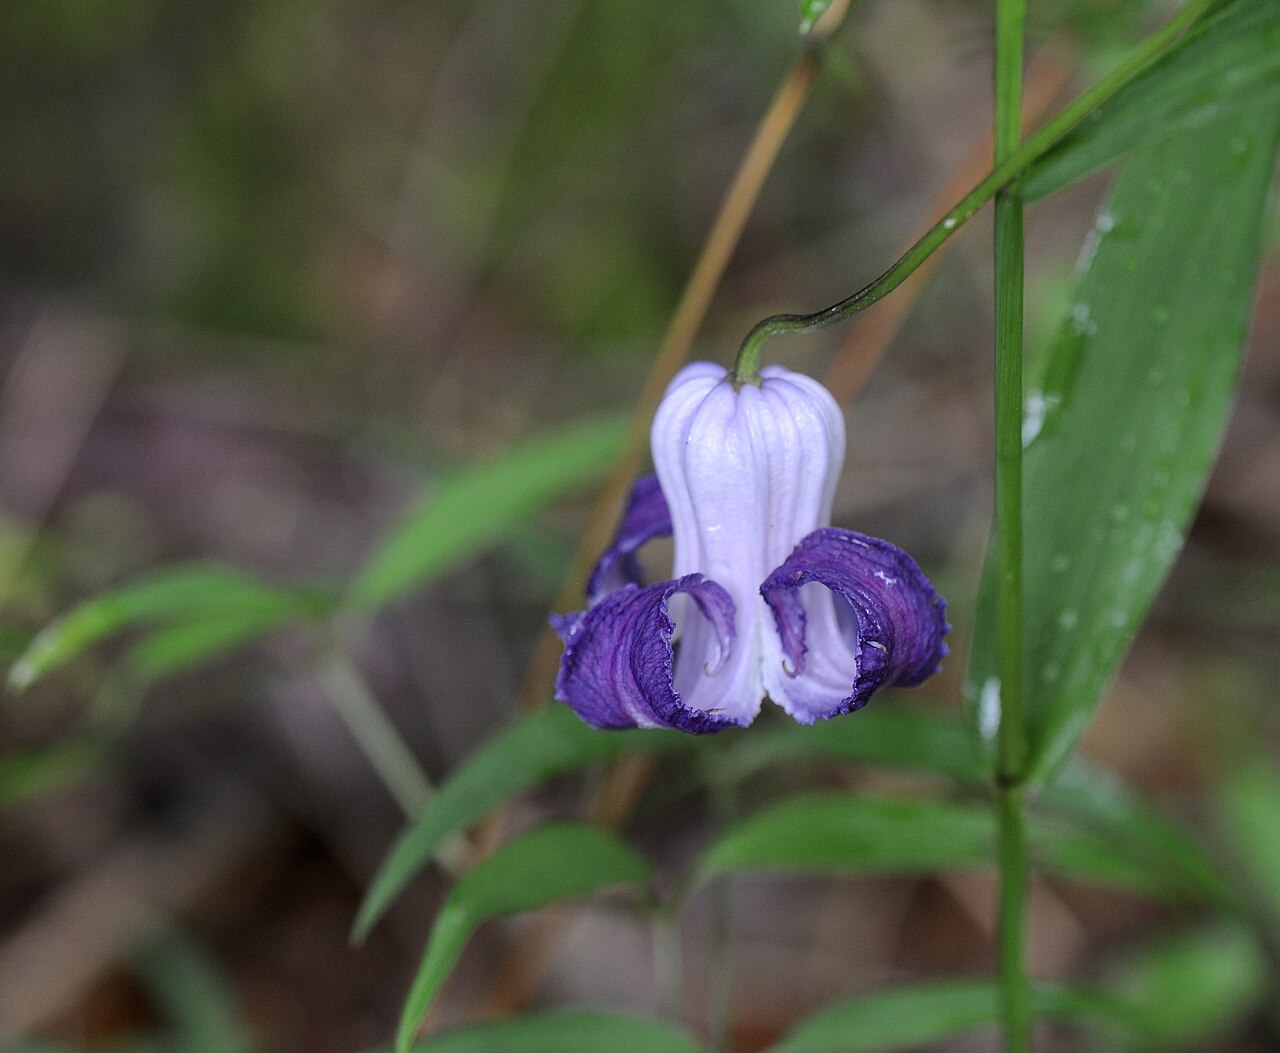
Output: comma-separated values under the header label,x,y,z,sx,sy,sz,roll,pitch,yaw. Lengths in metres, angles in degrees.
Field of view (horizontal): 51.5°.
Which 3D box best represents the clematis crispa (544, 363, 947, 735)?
label,x,y,z,sx,sy,sz,roll,pitch,yaw
clematis crispa,0.090,0.015,1.179,0.332,0.327,0.177,-3,-6,3
